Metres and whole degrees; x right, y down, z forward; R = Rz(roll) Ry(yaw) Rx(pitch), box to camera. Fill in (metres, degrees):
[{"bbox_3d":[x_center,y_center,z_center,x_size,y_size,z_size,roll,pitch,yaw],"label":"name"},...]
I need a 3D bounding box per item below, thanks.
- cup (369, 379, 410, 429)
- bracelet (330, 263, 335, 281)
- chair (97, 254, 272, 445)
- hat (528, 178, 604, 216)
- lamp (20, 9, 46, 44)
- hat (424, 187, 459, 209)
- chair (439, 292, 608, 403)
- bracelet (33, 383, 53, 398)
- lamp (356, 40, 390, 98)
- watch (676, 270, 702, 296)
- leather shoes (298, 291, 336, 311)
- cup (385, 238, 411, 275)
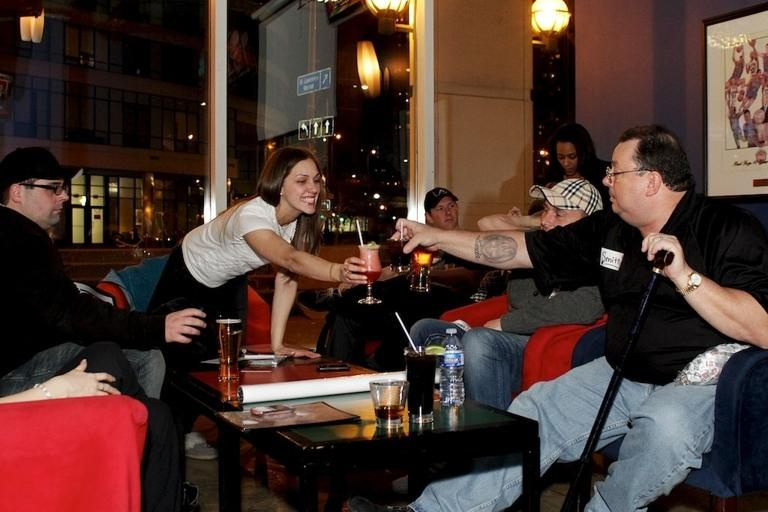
[{"bbox_3d":[0.017,0.549,2.326,0.160,0.165,0.164,-2,-7,0],"label":"cup"},{"bbox_3d":[-0.268,0.080,3.245,0.033,0.082,0.031,-3,3,-9],"label":"bracelet"},{"bbox_3d":[-1.289,0.508,4.204,1.120,1.162,1.008,-4,-5,41],"label":"chair"},{"bbox_3d":[1.038,-0.317,3.542,0.327,0.168,0.226,17,0,-14],"label":"hat"},{"bbox_3d":[-2.766,-1.805,4.897,0.181,0.206,0.112,-3,3,-12],"label":"lamp"},{"bbox_3d":[0.404,-0.457,4.860,0.175,0.123,0.230,-8,-17,-30],"label":"hat"},{"bbox_3d":[0.848,0.477,3.575,0.565,0.569,0.674,5,-7,-30],"label":"chair"},{"bbox_3d":[-1.214,0.478,2.215,0.052,0.048,0.014,-9,-9,-18],"label":"bracelet"},{"bbox_3d":[-0.121,-1.692,5.633,0.250,0.489,0.094,-2,3,-4],"label":"lamp"},{"bbox_3d":[1.251,0.115,2.580,0.105,0.068,0.098,-42,-14,-13],"label":"watch"},{"bbox_3d":[-0.493,0.321,4.548,0.138,0.154,0.395,-5,10,-30],"label":"leather shoes"},{"bbox_3d":[0.080,-0.009,3.341,0.155,0.165,0.155,-1,-9,0],"label":"cup"}]
